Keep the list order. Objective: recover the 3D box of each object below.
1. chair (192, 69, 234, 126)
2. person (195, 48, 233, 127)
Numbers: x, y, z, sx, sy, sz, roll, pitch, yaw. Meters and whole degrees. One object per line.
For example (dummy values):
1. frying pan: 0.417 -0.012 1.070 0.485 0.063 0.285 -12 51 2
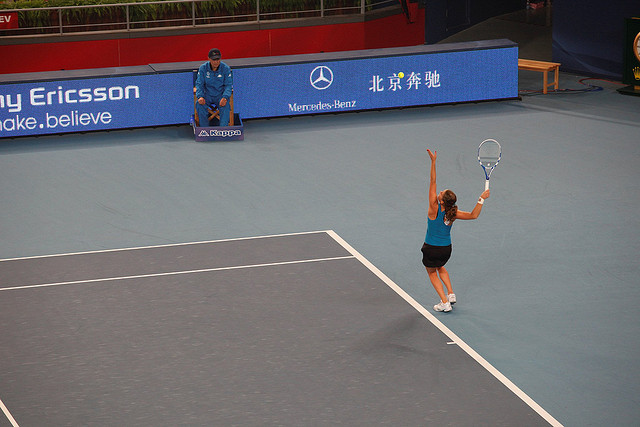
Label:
1. chair: -2.834 -3.078 17.792 1.370 1.868 1.184 -2 37 -7
2. person: -2.836 -3.295 17.627 1.012 1.984 0.625 -4 15 -3
